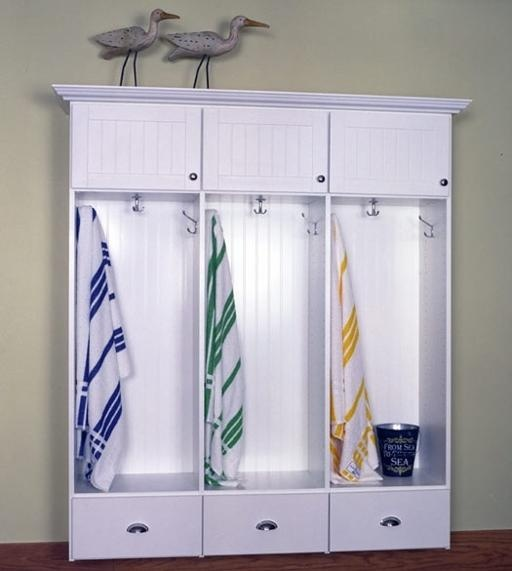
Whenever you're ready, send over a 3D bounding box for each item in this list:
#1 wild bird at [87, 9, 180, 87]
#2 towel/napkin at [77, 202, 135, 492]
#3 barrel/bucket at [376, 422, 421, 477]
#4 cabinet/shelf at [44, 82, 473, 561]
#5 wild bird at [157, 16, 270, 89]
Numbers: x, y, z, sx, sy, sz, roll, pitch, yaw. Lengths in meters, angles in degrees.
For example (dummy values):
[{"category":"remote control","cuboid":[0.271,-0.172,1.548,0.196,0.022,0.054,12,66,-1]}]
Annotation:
[{"category":"wild bird","cuboid":[-0.552,-1.089,4.307,0.331,0.439,0.112,1,40,-10]},{"category":"towel/napkin","cuboid":[-0.666,0.261,4.082,0.236,1.226,0.225,0,1,-6]},{"category":"barrel/bucket","cuboid":[0.658,0.734,4.281,0.174,0.238,0.203,0,-3,21]},{"category":"cabinet/shelf","cuboid":[-0.063,0.176,4.184,1.596,2.508,0.562,0,-2,-9]},{"category":"wild bird","cuboid":[-0.218,-1.107,4.360,0.305,0.307,0.084,2,4,-1]}]
